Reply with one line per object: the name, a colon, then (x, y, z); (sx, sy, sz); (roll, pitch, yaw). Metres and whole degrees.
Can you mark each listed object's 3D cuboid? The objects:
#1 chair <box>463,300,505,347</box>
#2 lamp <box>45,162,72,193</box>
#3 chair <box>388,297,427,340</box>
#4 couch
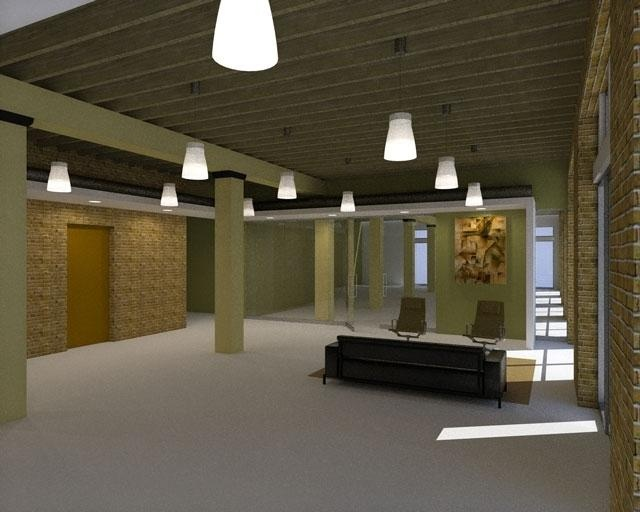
chair: (3.014, 1.331, 8.597); (0.650, 1.000, 0.675); (1, -2, 38)
lamp: (-3.860, -1.197, 6.991); (0.312, 0.447, 0.241); (0, 2, -9)
chair: (1.855, 1.260, 9.543); (0.572, 0.798, 0.491); (1, 3, 16)
couch: (1.349, 1.491, 6.933); (2.468, 0.811, 0.741); (2, 11, 20)
